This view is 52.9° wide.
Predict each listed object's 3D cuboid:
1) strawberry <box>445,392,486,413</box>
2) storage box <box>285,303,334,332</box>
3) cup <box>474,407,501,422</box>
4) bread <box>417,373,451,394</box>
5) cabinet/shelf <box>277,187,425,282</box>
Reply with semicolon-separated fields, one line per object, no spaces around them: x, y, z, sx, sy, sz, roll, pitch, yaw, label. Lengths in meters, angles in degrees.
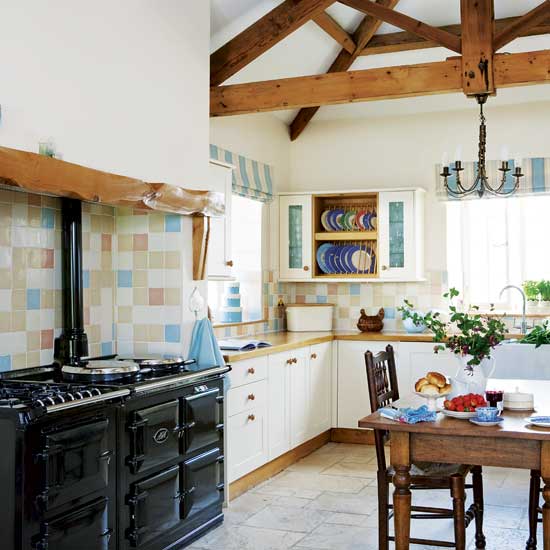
0.712;0.473;2.048;0.087;0.036;0.083;-3;0;-7;strawberry
0.349;0.396;5.209;0.363;0.182;0.260;1;-2;1;storage box
0.738;0.468;1.896;0.055;0.031;0.066;0;-1;-1;cup
0.671;0.447;2.300;0.102;0.059;0.103;-1;0;43;bread
0.748;-0.365;5.282;0.984;0.564;0.286;-1;-3;16;cabinet/shelf
